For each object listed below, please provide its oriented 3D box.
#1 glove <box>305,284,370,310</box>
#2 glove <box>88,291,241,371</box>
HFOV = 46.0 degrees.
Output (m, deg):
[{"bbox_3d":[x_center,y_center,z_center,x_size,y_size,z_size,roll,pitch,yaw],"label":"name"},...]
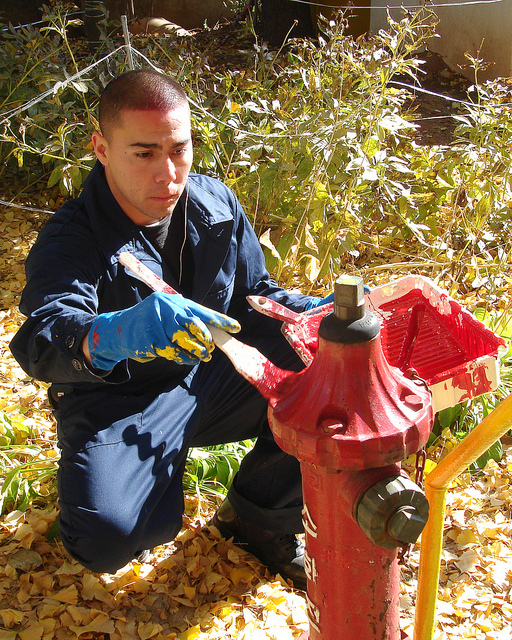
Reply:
[{"bbox_3d":[0.222,-0.057,1.692,0.126,0.080,0.120,18,-11,-2],"label":"glove"},{"bbox_3d":[-0.198,0.028,1.243,0.355,0.094,0.174,8,50,31],"label":"glove"}]
